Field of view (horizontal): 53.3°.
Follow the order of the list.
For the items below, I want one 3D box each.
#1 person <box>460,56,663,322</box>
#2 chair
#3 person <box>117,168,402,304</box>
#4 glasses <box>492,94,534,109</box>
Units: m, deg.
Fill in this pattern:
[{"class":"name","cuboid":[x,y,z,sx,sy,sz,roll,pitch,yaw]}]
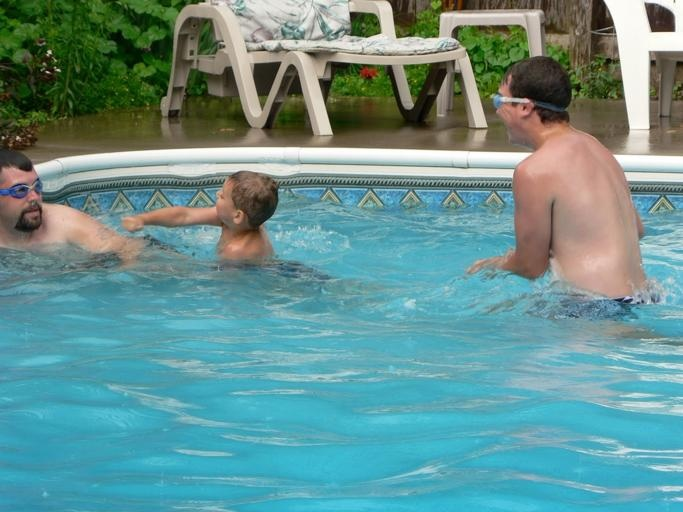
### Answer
[{"class":"person","cuboid":[1.029,-0.329,3.067,0.743,1.142,0.377,0,13,18]},{"class":"chair","cuboid":[-0.403,-1.874,6.820,2.887,0.856,2.105,11,15,42]},{"class":"person","cuboid":[-0.561,-0.141,3.992,1.376,0.691,0.493,2,13,26]},{"class":"glasses","cuboid":[0.769,-0.700,3.082,0.127,0.032,0.093,5,8,20]}]
